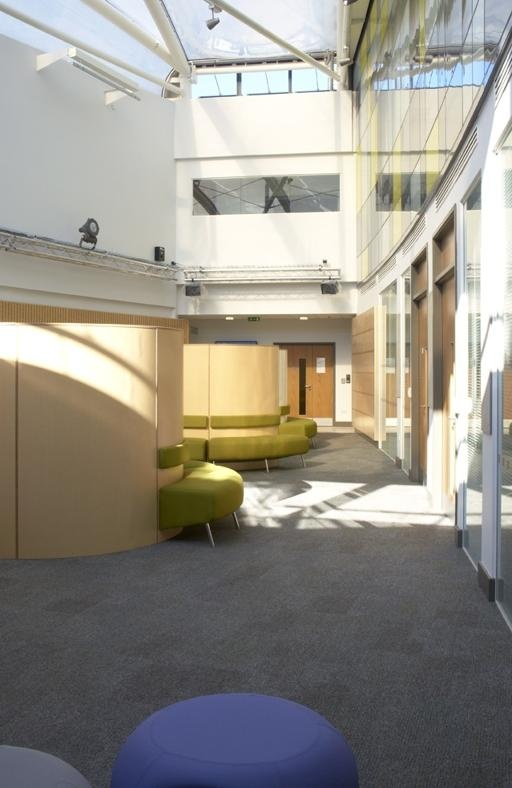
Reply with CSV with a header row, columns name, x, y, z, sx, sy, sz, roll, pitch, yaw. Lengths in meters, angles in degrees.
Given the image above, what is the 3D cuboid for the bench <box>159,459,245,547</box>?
name,x,y,z,sx,sy,sz,roll,pitch,yaw
bench,-0.491,1.048,5.052,0.645,0.549,0.985,0,-1,7

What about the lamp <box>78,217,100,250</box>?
name,x,y,z,sx,sy,sz,roll,pitch,yaw
lamp,-3.547,-3.342,11.201,0.372,0.598,0.885,0,-1,-20

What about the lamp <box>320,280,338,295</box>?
name,x,y,z,sx,sy,sz,roll,pitch,yaw
lamp,1.910,-2.754,13.724,0.462,0.328,0.346,0,-1,2
